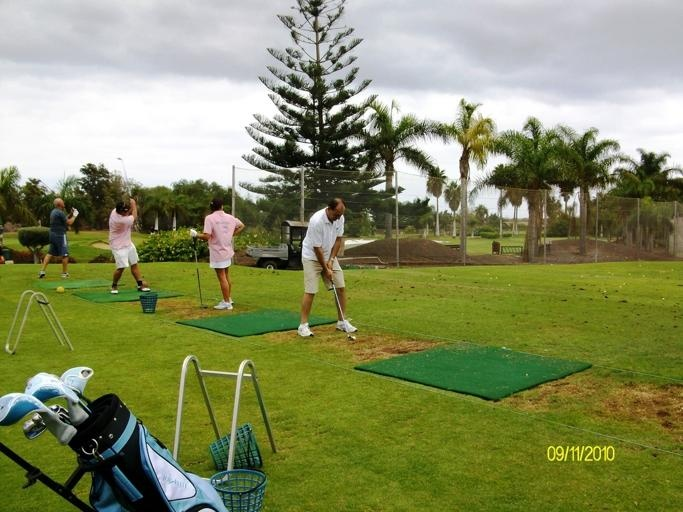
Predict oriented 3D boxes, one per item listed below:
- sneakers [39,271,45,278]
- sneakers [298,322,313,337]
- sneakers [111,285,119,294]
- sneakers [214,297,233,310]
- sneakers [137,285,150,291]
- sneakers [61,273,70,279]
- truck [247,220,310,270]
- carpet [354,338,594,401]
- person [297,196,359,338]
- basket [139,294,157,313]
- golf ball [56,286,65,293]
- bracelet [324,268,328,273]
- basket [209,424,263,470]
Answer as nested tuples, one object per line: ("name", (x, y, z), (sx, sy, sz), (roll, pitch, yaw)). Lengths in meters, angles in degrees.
("sneakers", (-6.921, 0.391, 13.067), (0.134, 0.187, 0.187), (5, -18, -30))
("sneakers", (-0.506, 1.015, 7.949), (0.226, 0.159, 0.266), (0, 7, -6))
("sneakers", (-4.476, 0.651, 11.190), (0.125, 0.154, 0.369), (0, -5, -28))
("sneakers", (-2.056, 0.819, 9.875), (0.322, 0.153, 0.139), (0, -3, 2))
("sneakers", (-4.002, 0.634, 11.527), (0.290, 0.130, 0.111), (-1, -3, 16))
("sneakers", (-6.533, 0.438, 13.448), (0.257, 0.123, 0.104), (0, 1, -17))
("truck", (-2.229, -0.439, 20.300), (2.176, 1.447, 1.504), (-3, 6, -16))
("carpet", (1.503, 1.238, 6.471), (2.229, 0.043, 1.696), (-4, 9, -36))
("person", (-0.229, 0.112, 8.300), (0.820, 1.929, 1.040), (0, 7, -2))
("basket", (-3.208, 0.768, 9.422), (0.238, 0.301, 0.398), (-2, 7, -23))
("golf ball", (-5.198, 0.593, 10.442), (0.094, 0.098, 0.097), (3, 32, -2))
("bracelet", (-0.233, 0.190, 8.213), (0.054, 0.056, 0.053), (-2, 5, 14))
("basket", (-0.799, 1.458, 4.301), (0.350, 0.349, 0.341), (-5, 10, -2))
